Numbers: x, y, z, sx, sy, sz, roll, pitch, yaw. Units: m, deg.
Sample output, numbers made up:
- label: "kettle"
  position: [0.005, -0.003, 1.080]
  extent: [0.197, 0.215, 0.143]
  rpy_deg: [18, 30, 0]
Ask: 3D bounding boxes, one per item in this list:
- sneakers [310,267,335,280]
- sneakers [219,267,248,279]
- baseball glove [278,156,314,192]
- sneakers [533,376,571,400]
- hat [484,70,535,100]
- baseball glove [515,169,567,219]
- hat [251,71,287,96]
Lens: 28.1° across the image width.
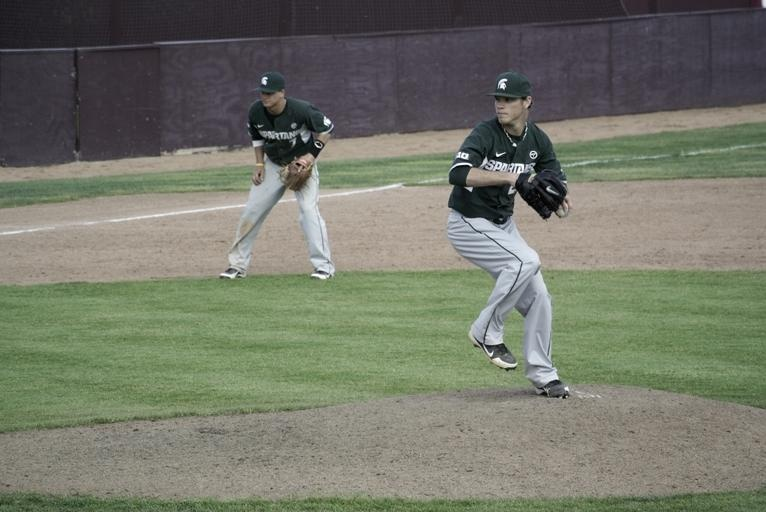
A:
- label: "sneakers"
  position: [-0.938, 0.293, 23.335]
  extent: [0.367, 0.143, 0.141]
  rpy_deg: [13, -7, -35]
- label: "sneakers"
  position: [-2.295, 0.277, 23.261]
  extent: [0.177, 0.125, 0.355]
  rpy_deg: [-2, -6, 38]
- label: "baseball glove"
  position: [-1.308, -1.230, 23.081]
  extent: [0.383, 0.513, 0.232]
  rpy_deg: [44, -5, 11]
- label: "sneakers"
  position: [2.249, 1.776, 20.024]
  extent: [0.233, 0.167, 0.418]
  rpy_deg: [-2, -4, -37]
- label: "hat"
  position: [1.708, -2.263, 20.253]
  extent: [0.591, 0.263, 0.387]
  rpy_deg: [-1, 15, -14]
- label: "baseball glove"
  position: [2.107, -0.791, 20.254]
  extent: [0.700, 0.641, 0.290]
  rpy_deg: [-1, 9, -2]
- label: "hat"
  position: [-1.626, -2.593, 23.074]
  extent: [0.432, 0.296, 0.580]
  rpy_deg: [25, 32, 34]
